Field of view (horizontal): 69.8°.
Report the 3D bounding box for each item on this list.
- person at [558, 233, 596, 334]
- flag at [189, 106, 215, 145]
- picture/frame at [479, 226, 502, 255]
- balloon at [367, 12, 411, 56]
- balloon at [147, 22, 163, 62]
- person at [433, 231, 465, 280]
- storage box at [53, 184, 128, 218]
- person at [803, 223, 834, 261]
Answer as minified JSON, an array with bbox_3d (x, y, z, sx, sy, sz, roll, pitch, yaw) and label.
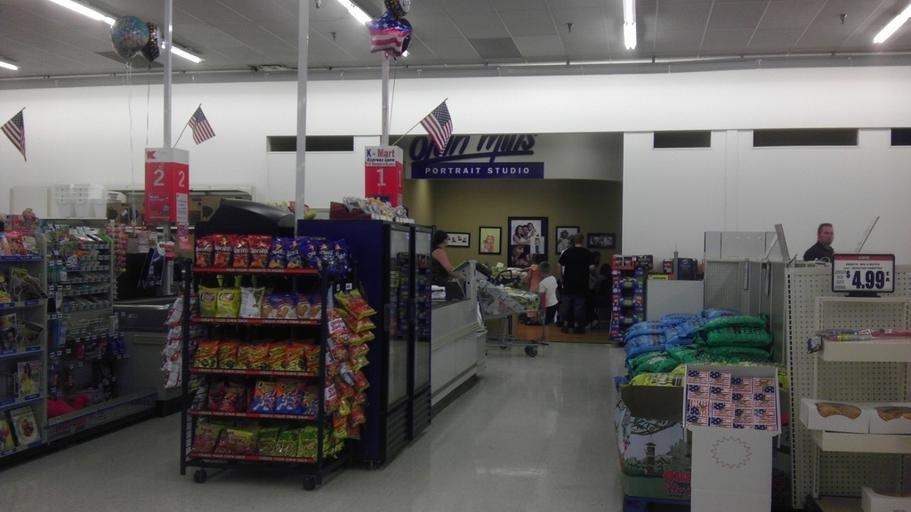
[{"bbox_3d":[2.769,0.552,14.948,0.797,2.123,0.741,6,12,15],"label":"person"},{"bbox_3d":[-5.507,-2.829,14.096,0.336,0.739,0.383,-10,15,-41],"label":"flag"},{"bbox_3d":[0.999,-0.439,18.106,0.857,0.900,0.066,1,1,2],"label":"picture/frame"},{"bbox_3d":[-1.051,-3.507,10.460,0.628,0.632,0.412,-2,12,-10],"label":"balloon"},{"bbox_3d":[-5.351,-3.821,11.571,0.221,0.570,0.519,0,-11,-6],"label":"balloon"},{"bbox_3d":[-0.157,-0.022,11.210,0.445,0.711,1.016,-2,12,-11],"label":"person"},{"bbox_3d":[-7.959,-1.128,14.479,0.916,0.569,1.148,1,2,10],"label":"storage box"},{"bbox_3d":[6.538,-0.247,11.701,0.377,0.669,0.770,0,1,35],"label":"person"}]
